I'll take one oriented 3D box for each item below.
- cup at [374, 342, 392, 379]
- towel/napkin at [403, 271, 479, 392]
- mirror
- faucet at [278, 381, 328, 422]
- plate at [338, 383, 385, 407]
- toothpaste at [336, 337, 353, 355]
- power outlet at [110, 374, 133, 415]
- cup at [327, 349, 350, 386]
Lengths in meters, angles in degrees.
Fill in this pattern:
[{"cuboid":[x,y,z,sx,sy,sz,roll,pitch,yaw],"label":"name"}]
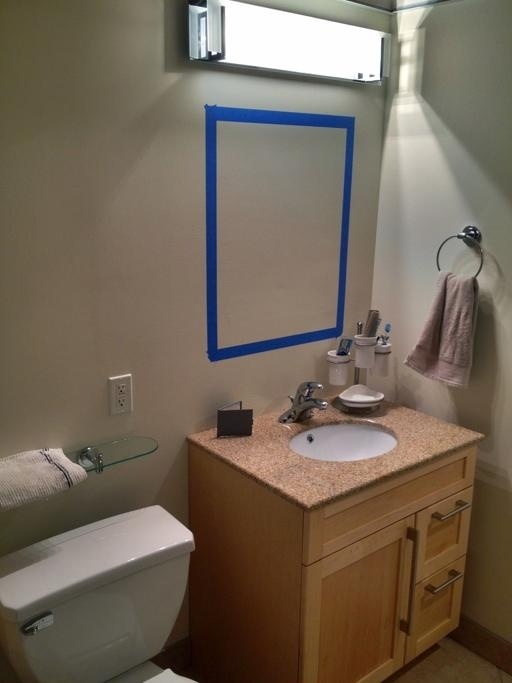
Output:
[{"cuboid":[0.463,0.070,2.015,0.045,0.138,0.076,11,19,35],"label":"cup"},{"cuboid":[0.607,-0.035,1.798,0.074,0.353,0.225,0,18,-42],"label":"towel/napkin"},{"cuboid":[0.067,-0.365,1.798,0.716,1.060,0.021,-9,16,-35],"label":"mirror"},{"cuboid":[0.164,0.197,1.833,0.091,0.126,0.189,-1,3,-27],"label":"faucet"},{"cuboid":[0.369,0.201,1.961,0.154,0.063,0.140,-1,16,-2],"label":"plate"},{"cuboid":[0.316,0.015,2.008,0.043,0.062,0.009,17,6,-10],"label":"toothpaste"},{"cuboid":[-0.370,0.143,1.523,0.014,0.141,0.092,12,14,40],"label":"power outlet"},{"cuboid":[0.269,0.095,2.016,0.105,0.137,0.106,0,4,0],"label":"cup"}]
